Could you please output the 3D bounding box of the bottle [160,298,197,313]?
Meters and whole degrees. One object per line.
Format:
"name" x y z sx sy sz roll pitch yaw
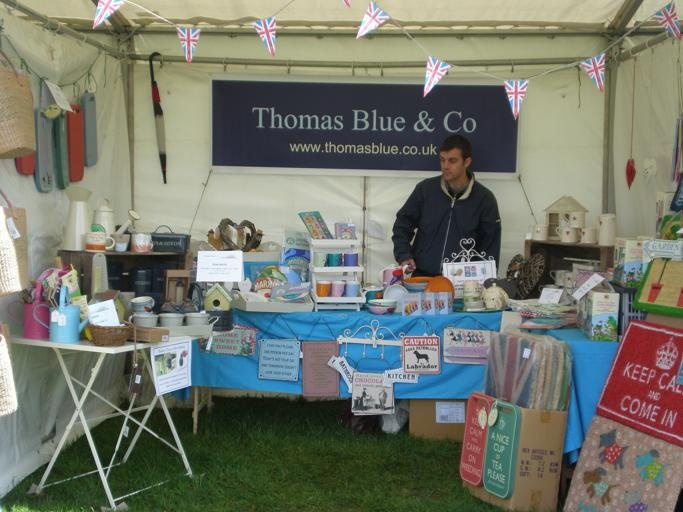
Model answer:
"bottle" -1.039 0.329 4.065 0.234 0.060 0.130 -3 10 -20

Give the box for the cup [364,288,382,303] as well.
"cup" 0.252 0.295 4.791 0.093 0.109 0.099 -1 4 0

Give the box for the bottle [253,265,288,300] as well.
"bottle" -0.546 0.195 4.855 0.168 0.256 0.250 1 -11 -2

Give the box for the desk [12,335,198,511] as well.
"desk" -1.568 1.036 4.251 0.969 1.077 1.039 1 0 27

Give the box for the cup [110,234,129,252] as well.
"cup" -1.693 -0.105 4.850 0.110 0.136 0.113 2 -1 0

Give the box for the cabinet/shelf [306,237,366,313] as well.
"cabinet/shelf" -0.079 0.136 4.835 0.341 0.562 0.524 1 -2 -9

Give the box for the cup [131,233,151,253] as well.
"cup" -1.531 -0.096 4.873 0.128 0.161 0.141 0 -5 1

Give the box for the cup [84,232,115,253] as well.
"cup" -1.787 -0.100 4.698 0.097 0.118 0.160 -5 -10 37

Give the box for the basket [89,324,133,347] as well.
"basket" -1.389 0.467 3.802 0.243 0.142 0.167 -4 10 -25

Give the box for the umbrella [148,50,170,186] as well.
"umbrella" -1.667 -1.257 5.753 0.138 1.174 0.102 0 8 2

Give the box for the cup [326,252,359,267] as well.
"cup" 0.013 0.024 4.677 0.169 0.099 0.116 0 1 1

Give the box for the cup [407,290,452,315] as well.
"cup" 0.622 0.343 4.706 0.269 0.170 0.141 0 -1 0

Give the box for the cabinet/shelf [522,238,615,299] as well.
"cabinet/shelf" 1.862 0.085 5.326 1.081 0.423 1.074 -1 1 33

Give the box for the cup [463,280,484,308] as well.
"cup" 0.972 0.282 4.714 0.153 0.263 0.166 0 -5 0

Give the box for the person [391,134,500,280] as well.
"person" 0.898 -0.410 5.394 0.915 1.217 0.373 1 8 5

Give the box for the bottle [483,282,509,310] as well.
"bottle" 1.131 0.293 4.646 0.154 0.219 0.165 -4 0 0

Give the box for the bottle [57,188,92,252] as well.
"bottle" -1.990 -0.289 4.692 0.317 0.457 0.229 6 10 34

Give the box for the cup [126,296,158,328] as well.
"cup" -1.258 0.357 3.967 0.172 0.186 0.154 -2 -3 27

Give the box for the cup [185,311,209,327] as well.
"cup" -0.918 0.399 4.047 0.156 0.083 0.103 -4 10 -26

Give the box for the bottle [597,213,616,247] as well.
"bottle" 2.106 -0.211 5.006 0.132 0.237 0.181 4 9 23

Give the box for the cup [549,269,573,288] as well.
"cup" 1.698 0.175 4.900 0.215 0.173 0.151 -1 0 32
